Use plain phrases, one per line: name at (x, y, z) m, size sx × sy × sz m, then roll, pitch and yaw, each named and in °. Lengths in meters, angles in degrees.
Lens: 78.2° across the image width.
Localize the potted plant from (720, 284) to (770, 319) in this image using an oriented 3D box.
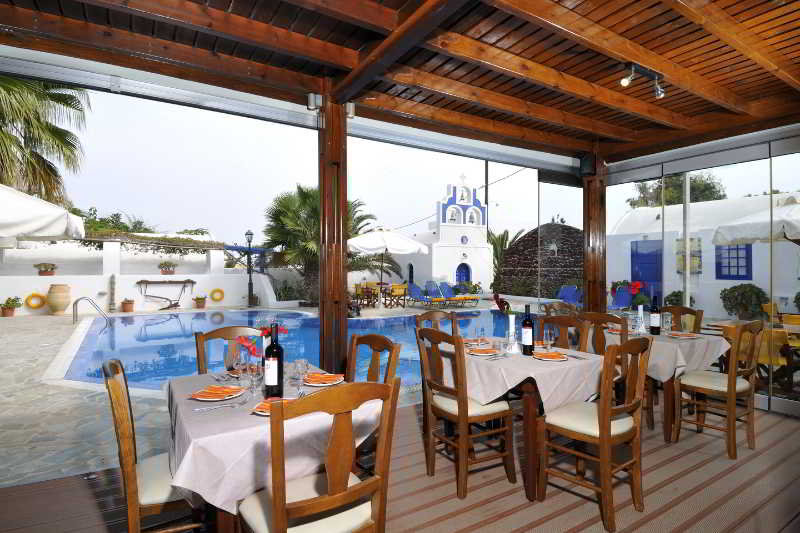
potted plant at (4.560, 0.502, 6.470) m, size 0.530 × 0.533 × 0.468 m, roll 13°, pitch -4°, yaw -21°

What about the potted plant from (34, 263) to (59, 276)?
potted plant at (-10.414, 0.073, 14.356) m, size 0.470 × 0.277 × 0.443 m, roll 2°, pitch -5°, yaw -28°

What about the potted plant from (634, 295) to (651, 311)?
potted plant at (3.545, 0.522, 7.185) m, size 0.246 × 0.206 × 0.253 m, roll -2°, pitch -2°, yaw 32°

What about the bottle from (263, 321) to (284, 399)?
bottle at (-1.006, 0.713, 3.859) m, size 0.153 × 0.613 × 0.270 m, roll -3°, pitch 10°, yaw -17°

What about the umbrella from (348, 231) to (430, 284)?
umbrella at (-0.535, 0.026, 16.561) m, size 2.029 × 1.338 × 2.000 m, roll -12°, pitch -24°, yaw 14°

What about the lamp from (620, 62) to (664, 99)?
lamp at (2.664, -2.035, 5.379) m, size 0.627 × 0.250 × 0.108 m, roll 7°, pitch 8°, yaw -23°

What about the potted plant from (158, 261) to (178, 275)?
potted plant at (-8.201, 0.039, 17.234) m, size 0.556 × 0.369 × 0.533 m, roll 1°, pitch -5°, yaw -10°

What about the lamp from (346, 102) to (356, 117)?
lamp at (-0.589, -1.871, 5.836) m, size 0.111 × 0.162 × 0.060 m, roll -2°, pitch 10°, yaw -12°

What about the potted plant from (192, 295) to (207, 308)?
potted plant at (-6.303, 1.076, 15.430) m, size 0.405 × 0.455 × 0.339 m, roll 2°, pitch -5°, yaw -30°
